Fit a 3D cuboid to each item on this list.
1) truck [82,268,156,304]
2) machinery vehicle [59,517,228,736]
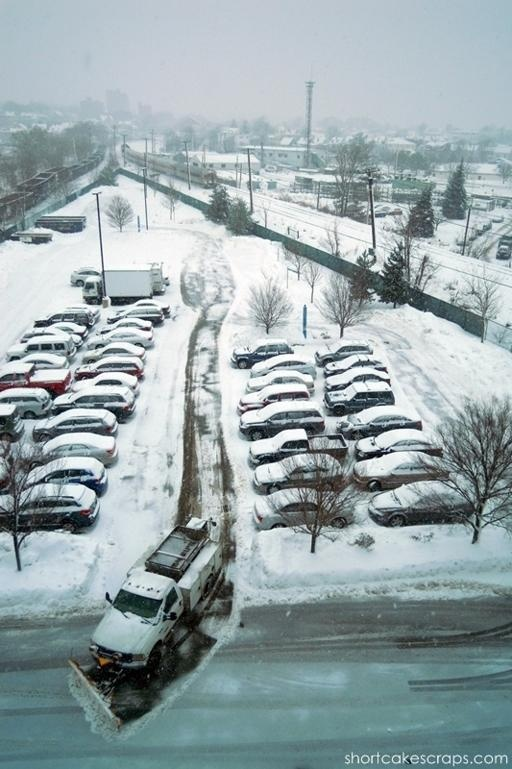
[{"bbox_3d":[-8.871,-6.554,37.858,4.371,2.028,2.059,0,33,0],"label":"truck"},{"bbox_3d":[-2.407,5.103,13.766,1.796,1.637,5.245,9,23,19],"label":"machinery vehicle"}]
